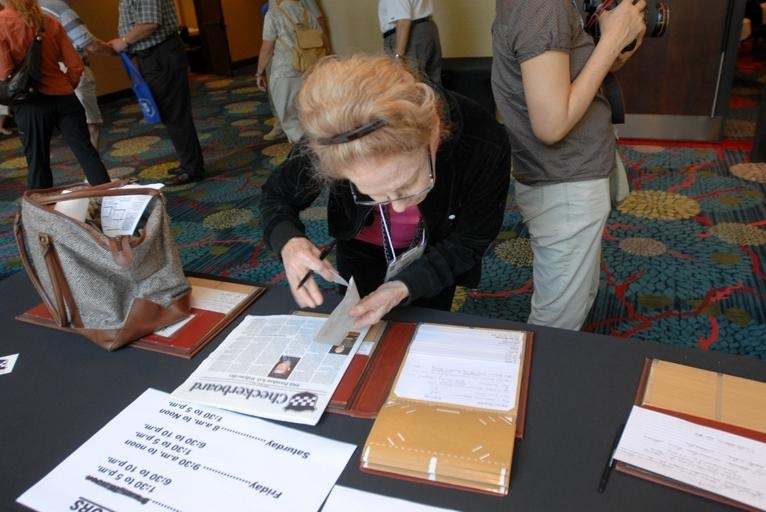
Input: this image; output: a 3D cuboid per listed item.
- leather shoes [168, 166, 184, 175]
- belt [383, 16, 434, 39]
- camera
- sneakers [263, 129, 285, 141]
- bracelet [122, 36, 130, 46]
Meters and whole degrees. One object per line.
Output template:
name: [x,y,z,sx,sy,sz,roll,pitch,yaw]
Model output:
leather shoes: [-1.903,-0.787,4.626,0.104,0.056,0.175,7,16,19]
belt: [0.189,-1.985,4.302,0.287,0.061,0.197,-11,30,16]
camera: [0.909,-0.892,1.963,0.304,0.238,0.162,2,-4,-6]
sneakers: [-1.194,-1.325,5.467,0.238,0.090,0.109,-17,57,-5]
bracelet: [-2.041,-1.715,3.978,0.026,0.059,0.059,1,21,38]
